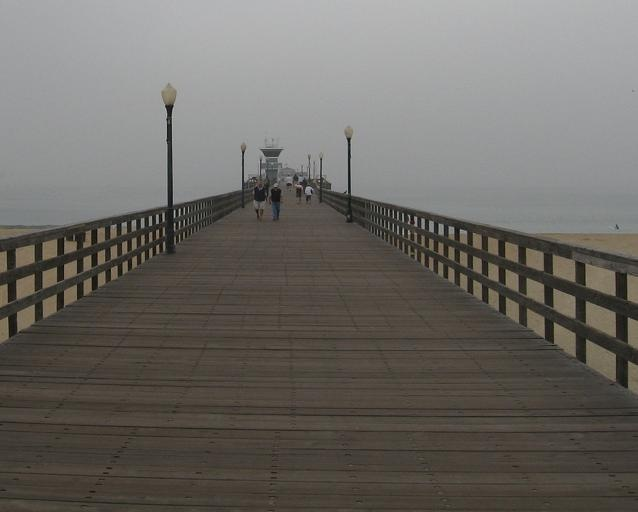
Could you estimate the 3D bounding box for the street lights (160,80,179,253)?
[{"bbox_3d":[-3.466,-2.195,16.347,0.498,3.455,0.482,-3,6,-35],"label":"street lights"}]
